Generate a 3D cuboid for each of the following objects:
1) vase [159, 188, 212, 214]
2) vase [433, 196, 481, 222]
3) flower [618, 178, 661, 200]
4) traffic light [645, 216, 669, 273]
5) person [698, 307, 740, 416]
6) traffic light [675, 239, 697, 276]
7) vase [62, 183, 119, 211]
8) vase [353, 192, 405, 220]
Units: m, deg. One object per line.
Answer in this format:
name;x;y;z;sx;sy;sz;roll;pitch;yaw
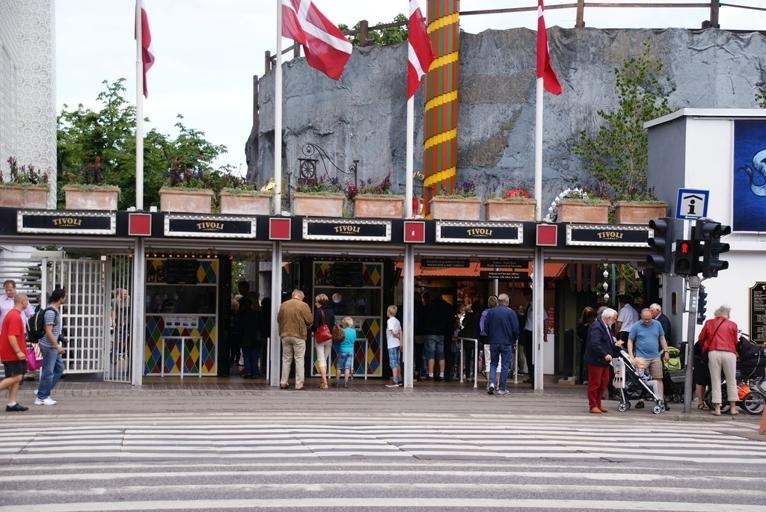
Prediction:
vase;-5.349;-1.507;31.464;0.884;0.455;0.904;0;-2;-4
vase;2.012;-1.151;32.543;1.123;0.534;0.687;1;-5;-10
flower;8.351;-2.160;37.287;1.525;0.782;1.665;1;1;-3
traffic light;6.770;-0.270;28.156;0.608;1.344;0.567;0;-4;13
person;8.518;2.612;29.069;0.919;2.753;0.675;0;-3;4
traffic light;7.357;0.046;27.978;0.549;0.862;0.215;1;-3;-6
vase;-7.812;-1.581;31.167;0.901;0.465;0.931;0;-2;1
vase;-0.100;-1.391;32.155;1.324;0.631;0.449;0;-4;3
